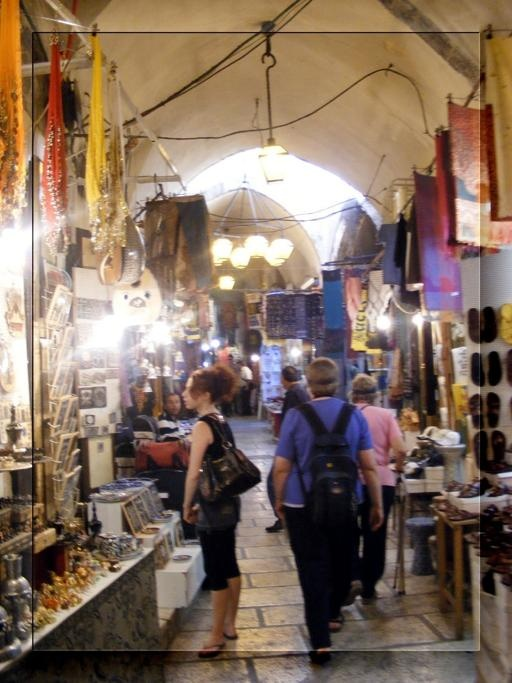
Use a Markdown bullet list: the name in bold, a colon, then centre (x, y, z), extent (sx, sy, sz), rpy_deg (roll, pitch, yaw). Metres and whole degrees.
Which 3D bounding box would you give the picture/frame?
- **picture/frame**: centre (-1.035, 0.326, 4.000), extent (0.647, 1.561, 0.261), rpy_deg (-2, -1, -18)

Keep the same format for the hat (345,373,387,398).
- **hat**: centre (0.687, 0.300, 4.132), extent (0.149, 0.100, 0.176), rpy_deg (8, -29, -19)

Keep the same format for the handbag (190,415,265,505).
- **handbag**: centre (-0.164, 0.677, 3.738), extent (0.356, 0.367, 0.154), rpy_deg (-2, -1, -4)

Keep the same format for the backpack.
- **backpack**: centre (0.385, 0.676, 3.487), extent (0.309, 0.554, 0.209), rpy_deg (-2, -1, 6)

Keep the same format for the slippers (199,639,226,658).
- **slippers**: centre (-0.268, 1.832, 3.859), extent (0.138, 0.037, 0.077), rpy_deg (-6, 7, -43)

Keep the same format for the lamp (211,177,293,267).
- **lamp**: centre (-0.055, -0.743, 4.322), extent (0.582, 0.439, 0.606), rpy_deg (0, -1, -8)

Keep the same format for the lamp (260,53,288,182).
- **lamp**: centre (0.101, -1.533, 4.346), extent (0.192, 0.703, 0.513), rpy_deg (-2, -1, 1)

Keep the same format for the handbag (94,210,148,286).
- **handbag**: centre (-0.851, -0.563, 4.064), extent (0.287, 0.279, 0.276), rpy_deg (-2, -1, 6)

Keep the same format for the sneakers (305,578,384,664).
- **sneakers**: centre (0.534, 1.732, 3.946), extent (0.225, 0.270, 0.691), rpy_deg (-6, -9, 16)

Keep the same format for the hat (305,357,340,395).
- **hat**: centre (0.357, 0.208, 3.726), extent (0.164, 0.197, 0.209), rpy_deg (0, -4, 1)

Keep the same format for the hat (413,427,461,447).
- **hat**: centre (1.246, 0.645, 4.378), extent (0.301, 0.123, 0.117), rpy_deg (-2, -1, 44)
